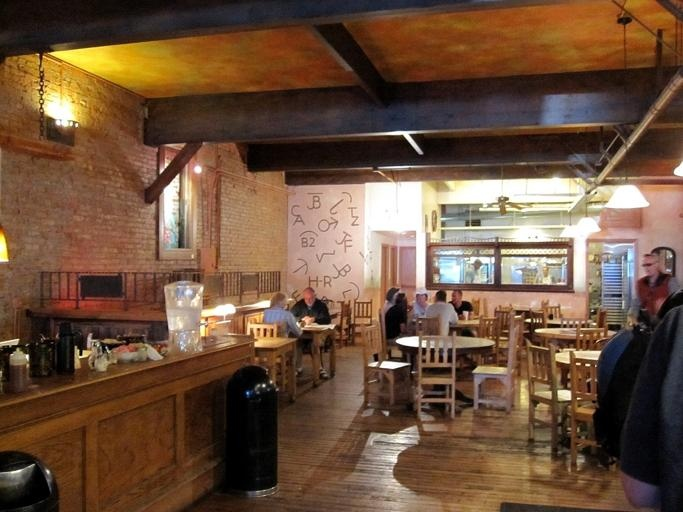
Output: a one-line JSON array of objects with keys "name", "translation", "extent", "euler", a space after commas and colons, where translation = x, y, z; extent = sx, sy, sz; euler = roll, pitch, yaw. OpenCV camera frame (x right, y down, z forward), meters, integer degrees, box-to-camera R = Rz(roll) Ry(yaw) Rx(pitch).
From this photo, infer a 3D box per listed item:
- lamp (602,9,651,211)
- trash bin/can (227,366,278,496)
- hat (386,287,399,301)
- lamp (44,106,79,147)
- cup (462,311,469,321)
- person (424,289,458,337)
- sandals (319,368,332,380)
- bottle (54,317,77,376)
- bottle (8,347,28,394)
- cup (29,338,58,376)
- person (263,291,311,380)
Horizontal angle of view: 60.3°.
[{"name": "lamp", "translation": [3.938, -1.816, 8.373], "extent": [0.693, 1.361, 5.424], "euler": [1, 2, 23]}, {"name": "trash bin/can", "translation": [-0.844, 1.637, 5.545], "extent": [0.464, 1.159, 0.235], "euler": [0, 2, -12]}, {"name": "hat", "translation": [0.860, 0.652, 9.988], "extent": [0.169, 0.231, 0.241], "euler": [22, 6, 6]}, {"name": "lamp", "translation": [-3.509, -1.669, 7.466], "extent": [0.155, 0.511, 0.466], "euler": [1, 2, 21]}, {"name": "cup", "translation": [2.450, 1.195, 11.666], "extent": [0.147, 0.267, 0.148], "euler": [0, -4, 0]}, {"name": "person", "translation": [1.593, 0.984, 9.434], "extent": [0.458, 0.706, 1.545], "euler": [1, 2, 10]}, {"name": "sandals", "translation": [-0.281, 2.047, 10.159], "extent": [0.178, 0.219, 0.522], "euler": [-1, -12, -6]}, {"name": "bottle", "translation": [-2.123, 0.699, 4.557], "extent": [0.144, 0.387, 0.245], "euler": [-1, 2, -26]}, {"name": "bottle", "translation": [-2.253, 0.794, 4.117], "extent": [0.118, 0.247, 0.327], "euler": [-1, 2, -30]}, {"name": "cup", "translation": [-2.209, 0.763, 4.388], "extent": [0.159, 0.255, 0.259], "euler": [-1, -1, 11]}, {"name": "person", "translation": [-0.934, 1.311, 9.537], "extent": [0.630, 1.446, 1.446], "euler": [0, 2, -4]}]
